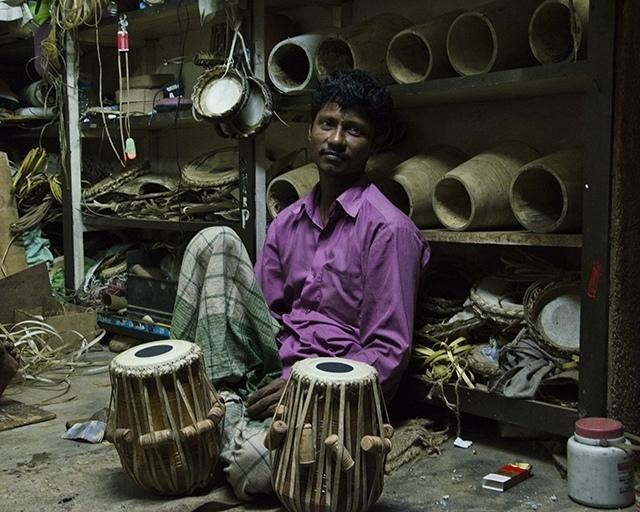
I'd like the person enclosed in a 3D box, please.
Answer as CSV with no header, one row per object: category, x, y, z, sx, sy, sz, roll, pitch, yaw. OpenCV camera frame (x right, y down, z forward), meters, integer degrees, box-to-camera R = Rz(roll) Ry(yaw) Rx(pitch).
person,-0.086,0.070,2.103,0.865,1.514,0.897,11,5,27
